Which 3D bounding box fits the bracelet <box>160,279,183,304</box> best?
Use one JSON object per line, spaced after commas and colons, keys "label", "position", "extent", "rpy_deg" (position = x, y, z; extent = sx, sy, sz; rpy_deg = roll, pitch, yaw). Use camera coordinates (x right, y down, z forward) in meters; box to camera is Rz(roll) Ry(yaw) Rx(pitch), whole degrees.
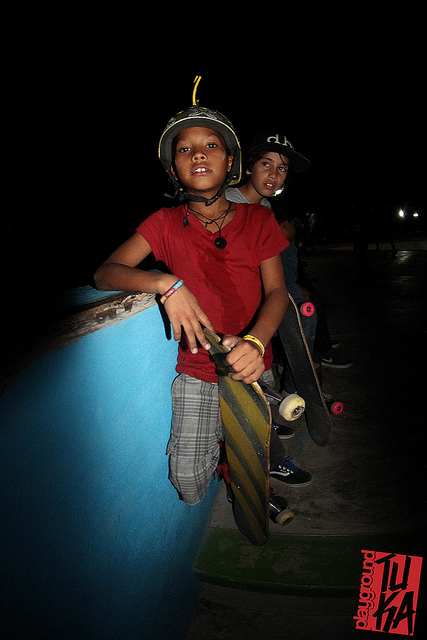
{"label": "bracelet", "position": [-0.146, -0.094, 1.755], "extent": [0.070, 0.017, 0.070], "rpy_deg": [-44, 11, -13]}

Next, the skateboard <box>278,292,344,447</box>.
{"label": "skateboard", "position": [0.480, 0.286, 2.593], "extent": [0.136, 0.892, 0.241], "rpy_deg": [-23, 3, -11]}

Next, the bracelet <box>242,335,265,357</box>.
{"label": "bracelet", "position": [0.149, 0.092, 1.800], "extent": [0.066, 0.074, 0.079], "rpy_deg": [-4, 12, 8]}

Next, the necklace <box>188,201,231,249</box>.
{"label": "necklace", "position": [-0.020, -0.379, 2.026], "extent": [0.223, 0.243, 0.021], "rpy_deg": [-1, 9, 4]}

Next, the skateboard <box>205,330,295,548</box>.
{"label": "skateboard", "position": [0.174, 0.483, 1.887], "extent": [0.147, 0.914, 0.251], "rpy_deg": [-24, 28, -34]}
